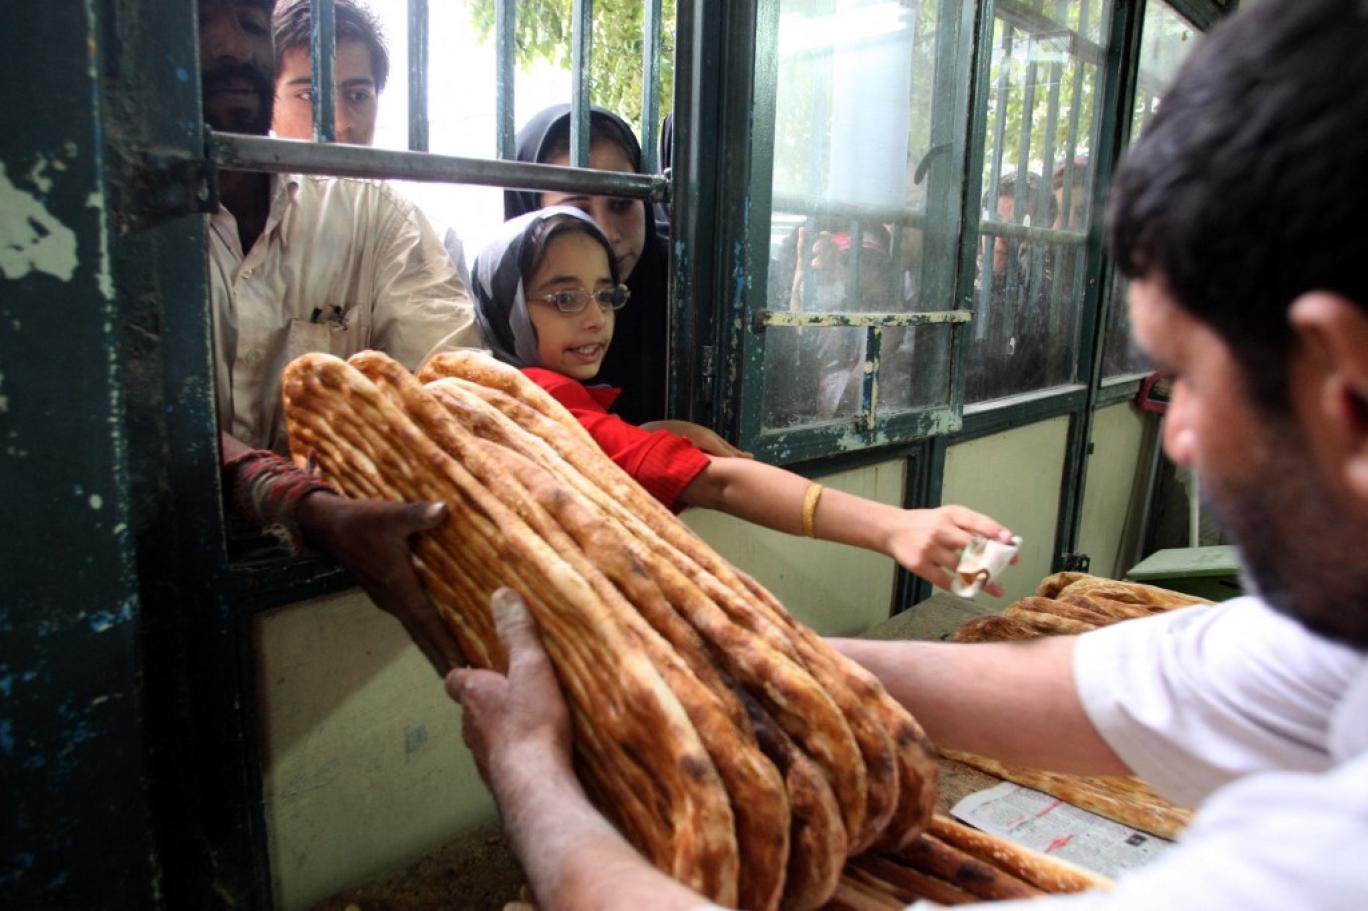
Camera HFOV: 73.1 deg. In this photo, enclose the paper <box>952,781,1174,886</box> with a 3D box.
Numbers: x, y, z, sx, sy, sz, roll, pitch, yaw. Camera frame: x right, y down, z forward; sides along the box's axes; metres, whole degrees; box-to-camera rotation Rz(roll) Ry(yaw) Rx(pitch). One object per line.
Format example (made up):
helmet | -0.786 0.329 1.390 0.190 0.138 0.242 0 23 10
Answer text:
paper | 0.629 0.639 1.567 0.228 0.021 0.397 -7 10 -35
